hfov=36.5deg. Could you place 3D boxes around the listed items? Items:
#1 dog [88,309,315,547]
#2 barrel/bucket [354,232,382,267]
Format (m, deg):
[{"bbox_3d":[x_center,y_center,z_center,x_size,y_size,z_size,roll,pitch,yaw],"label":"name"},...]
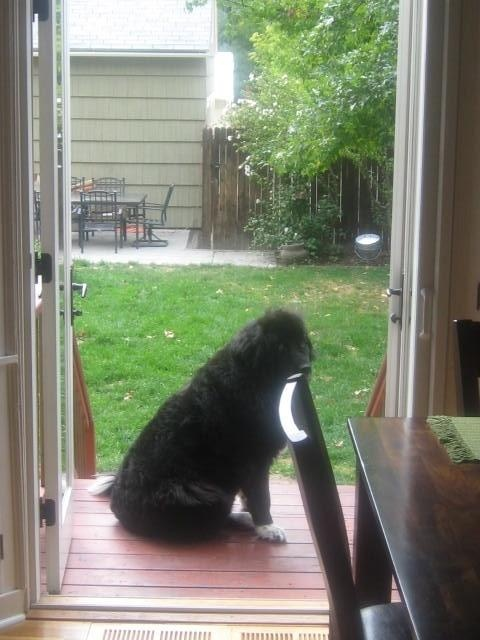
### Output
[{"bbox_3d":[-0.216,0.227,2.739,0.665,0.991,0.695,-3,49,-25],"label":"dog"},{"bbox_3d":[1.455,-0.777,8.094,0.409,0.341,0.183,-5,9,-38],"label":"barrel/bucket"}]
